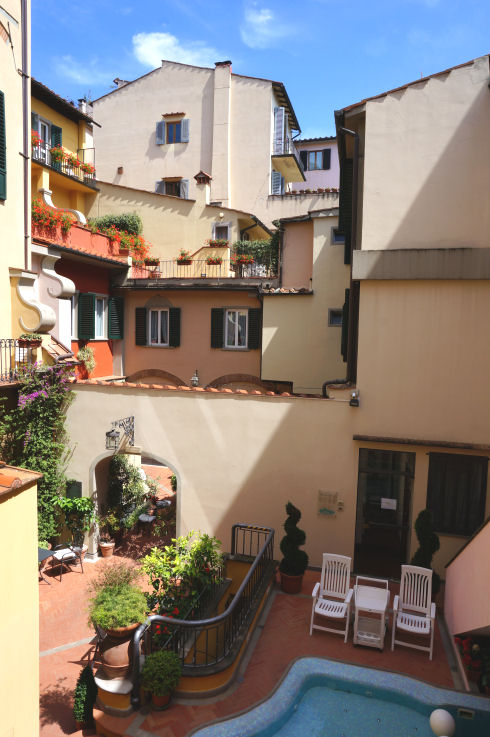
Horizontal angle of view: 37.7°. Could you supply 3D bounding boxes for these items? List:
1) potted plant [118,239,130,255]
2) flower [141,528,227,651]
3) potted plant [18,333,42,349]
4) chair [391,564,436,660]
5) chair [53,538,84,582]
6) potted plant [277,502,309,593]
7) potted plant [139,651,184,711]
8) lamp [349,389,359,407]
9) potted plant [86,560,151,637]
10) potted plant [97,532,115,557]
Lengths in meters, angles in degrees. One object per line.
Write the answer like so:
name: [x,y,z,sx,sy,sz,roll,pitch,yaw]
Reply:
potted plant: [-3.182,-3.180,18.890,0.245,0.473,0.445,-1,6,-10]
flower: [-0.993,3.333,10.801,0.918,0.909,1.210,2,1,29]
potted plant: [-4.099,-0.519,13.660,0.286,0.215,0.294,1,-2,-27]
chair: [2.496,3.546,10.656,0.614,0.980,1.128,1,6,13]
chair: [-3.410,3.644,13.847,0.524,0.657,0.542,9,-16,-36]
potted plant: [0.802,2.996,11.956,0.458,1.515,0.304,0,5,4]
potted plant: [-1.076,3.971,9.231,0.567,0.782,0.644,-1,7,-11]
lamp: [1.918,0.510,12.544,0.144,0.305,0.268,0,-5,6]
potted plant: [-1.680,3.092,9.536,0.760,0.613,0.865,-1,6,-7]
potted plant: [-2.800,3.582,14.621,0.376,0.456,0.299,-5,7,-38]
